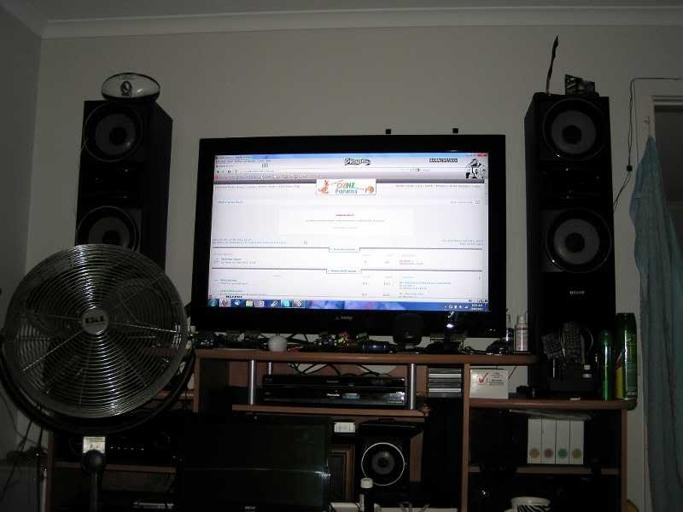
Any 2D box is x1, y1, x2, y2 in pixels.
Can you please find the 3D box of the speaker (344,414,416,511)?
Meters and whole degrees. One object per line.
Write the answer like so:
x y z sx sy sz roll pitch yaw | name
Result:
0.199 0.924 3.061 0.420 0.450 0.313 1 -8 0 | speaker
